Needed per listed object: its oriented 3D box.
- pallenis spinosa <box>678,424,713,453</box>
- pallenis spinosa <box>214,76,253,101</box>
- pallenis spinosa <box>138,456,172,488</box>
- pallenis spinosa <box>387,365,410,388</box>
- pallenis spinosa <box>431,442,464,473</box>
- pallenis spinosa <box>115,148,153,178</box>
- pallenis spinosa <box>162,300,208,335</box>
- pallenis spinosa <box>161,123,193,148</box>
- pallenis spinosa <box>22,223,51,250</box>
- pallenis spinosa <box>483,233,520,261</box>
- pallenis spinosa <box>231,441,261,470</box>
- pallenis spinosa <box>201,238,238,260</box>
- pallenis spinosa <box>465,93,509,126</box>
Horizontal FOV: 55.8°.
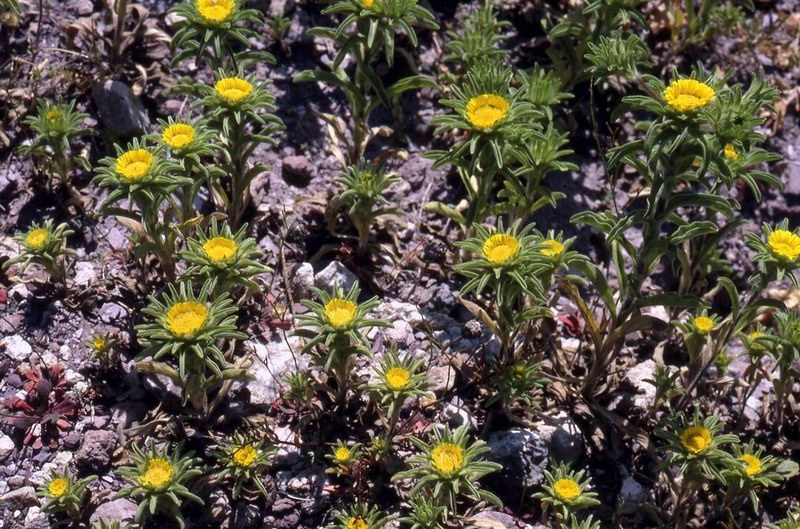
[{"bbox_3d":[2.407,1.405,6.071,0.262,0.139,0.203,-8,52,-14],"label":"pallenis spinosa"},{"bbox_3d":[-1.446,-1.536,6.555,0.326,0.110,0.268,8,50,-1],"label":"pallenis spinosa"},{"bbox_3d":[-1.895,1.641,5.914,0.232,0.079,0.247,28,53,15],"label":"pallenis spinosa"},{"bbox_3d":[-0.006,0.920,6.073,0.196,0.084,0.167,10,50,1],"label":"pallenis spinosa"},{"bbox_3d":[0.379,1.516,5.905,0.260,0.091,0.231,27,52,14],"label":"pallenis spinosa"},{"bbox_3d":[-2.171,-0.819,6.194,0.323,0.102,0.300,-14,54,-18],"label":"pallenis spinosa"},{"bbox_3d":[-1.665,0.424,5.916,0.294,0.092,0.306,37,56,21],"label":"pallenis spinosa"},{"bbox_3d":[-1.874,-1.089,6.395,0.277,0.110,0.238,-4,51,-10],"label":"pallenis spinosa"},{"bbox_3d":[-3.106,-0.273,6.477,0.217,0.109,0.245,-5,60,-4],"label":"pallenis spinosa"},{"bbox_3d":[0.816,-0.127,6.064,0.288,0.126,0.253,19,51,8],"label":"pallenis spinosa"},{"bbox_3d":[-1.243,1.541,6.070,0.221,0.092,0.176,20,51,9],"label":"pallenis spinosa"},{"bbox_3d":[-1.457,-0.119,6.132,0.280,0.074,0.217,-8,52,-14],"label":"pallenis spinosa"},{"bbox_3d":[0.748,-1.297,6.414,0.363,0.167,0.290,10,50,1],"label":"pallenis spinosa"}]
